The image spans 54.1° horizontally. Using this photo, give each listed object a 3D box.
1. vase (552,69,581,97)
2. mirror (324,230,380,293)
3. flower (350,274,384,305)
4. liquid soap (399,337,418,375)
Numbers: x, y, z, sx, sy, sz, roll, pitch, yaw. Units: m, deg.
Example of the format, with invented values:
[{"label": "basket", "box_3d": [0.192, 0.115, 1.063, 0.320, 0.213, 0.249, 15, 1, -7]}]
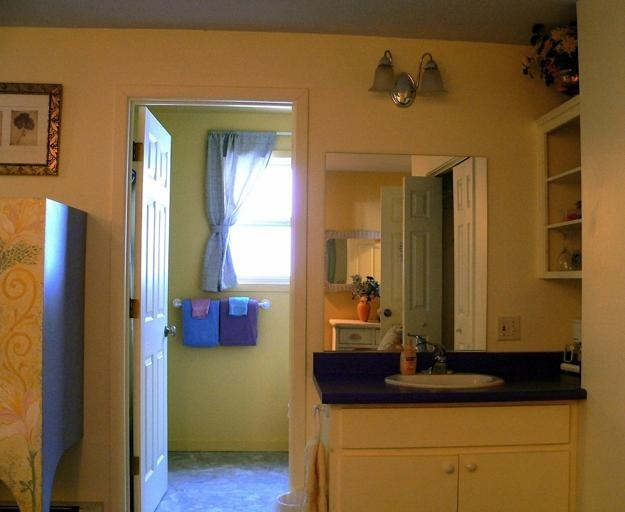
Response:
[{"label": "vase", "box_3d": [1.374, -0.926, 3.274, 0.048, 0.128, 0.135, -6, 1, -20]}, {"label": "mirror", "box_3d": [0.204, 0.039, 3.392, 0.306, 0.361, 0.035, 1, 0, -2]}, {"label": "flower", "box_3d": [0.296, 0.179, 3.389, 0.137, 0.150, 0.104, 1, -34, -9]}, {"label": "liquid soap", "box_3d": [0.522, 0.535, 3.323, 0.089, 0.198, 0.193, 0, -6, 9]}]
